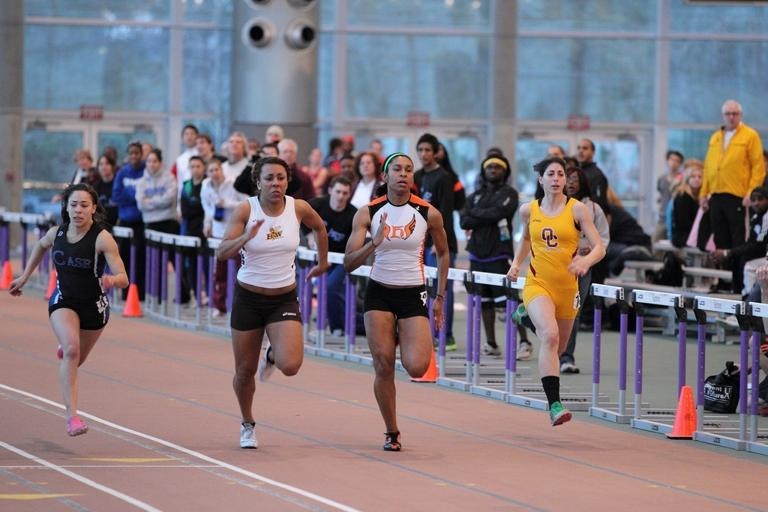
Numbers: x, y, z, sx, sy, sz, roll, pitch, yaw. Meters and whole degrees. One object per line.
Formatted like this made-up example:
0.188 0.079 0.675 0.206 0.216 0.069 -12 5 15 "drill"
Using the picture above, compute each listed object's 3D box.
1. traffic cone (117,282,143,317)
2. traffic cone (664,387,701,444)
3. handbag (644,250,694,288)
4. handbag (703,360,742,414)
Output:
-3.721 0.616 19.157 0.457 0.578 0.438 3 8 0 "traffic cone"
3.218 1.694 13.938 0.383 0.524 0.368 -3 -2 -25 "traffic cone"
4.308 0.190 19.725 0.611 0.619 0.413 1 -2 9 "handbag"
3.866 1.456 14.893 0.440 0.629 0.438 2 -5 -3 "handbag"
